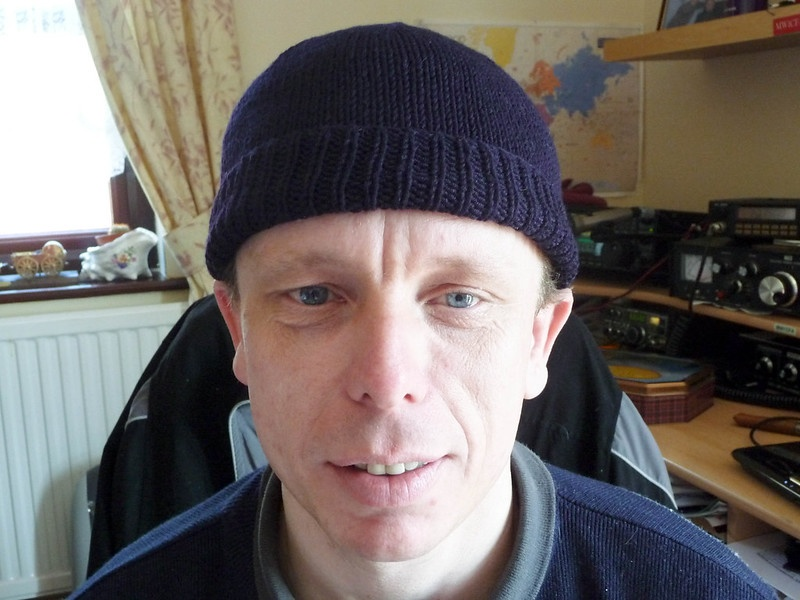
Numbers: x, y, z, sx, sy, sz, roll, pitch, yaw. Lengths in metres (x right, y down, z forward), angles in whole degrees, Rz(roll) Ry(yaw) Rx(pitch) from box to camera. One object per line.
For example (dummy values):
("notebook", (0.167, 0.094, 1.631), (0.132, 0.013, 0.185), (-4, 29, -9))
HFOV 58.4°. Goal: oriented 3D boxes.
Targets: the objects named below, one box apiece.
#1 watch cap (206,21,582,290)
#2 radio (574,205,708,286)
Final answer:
("watch cap", (-0.020, -0.154, 1.210), (0.373, 0.284, 0.406), (0, -8, 0))
("radio", (0.918, -0.195, 2.775), (0.526, 0.250, 0.388), (-6, 6, -39))
